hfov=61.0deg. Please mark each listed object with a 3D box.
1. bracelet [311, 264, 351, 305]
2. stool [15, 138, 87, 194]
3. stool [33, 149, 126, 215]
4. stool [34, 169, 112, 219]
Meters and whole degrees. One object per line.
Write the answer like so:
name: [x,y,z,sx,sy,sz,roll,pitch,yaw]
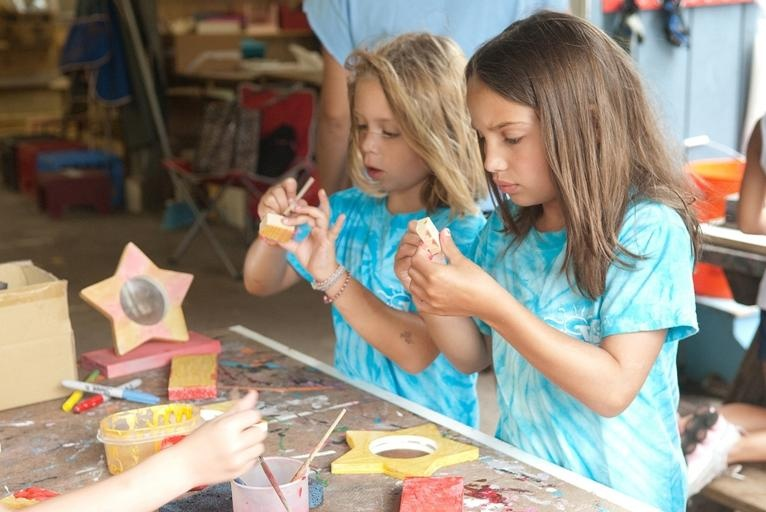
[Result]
bracelet: [-0.135,0.083,1.843,0.052,0.112,0.093,38,-15,4]
stool: [-1.926,-0.541,3.829,0.317,0.303,0.301,-2,22,-15]
stool: [-1.747,-0.433,3.801,0.394,0.260,0.255,-3,8,-23]
stool: [-1.819,-0.374,3.841,0.482,0.293,0.251,-4,11,-24]
